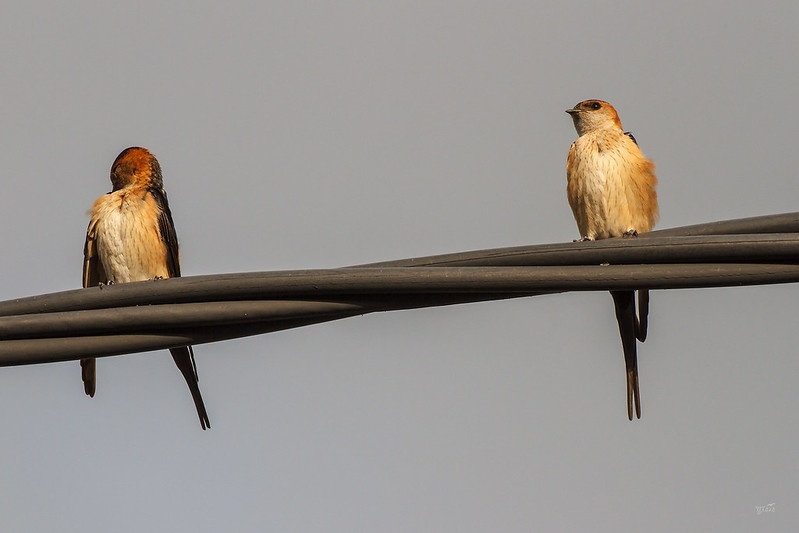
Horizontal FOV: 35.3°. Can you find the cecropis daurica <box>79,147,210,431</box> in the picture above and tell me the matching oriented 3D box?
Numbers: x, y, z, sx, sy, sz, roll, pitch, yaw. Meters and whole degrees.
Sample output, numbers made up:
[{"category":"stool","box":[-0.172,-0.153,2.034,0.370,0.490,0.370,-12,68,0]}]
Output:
[{"category":"cecropis daurica","box":[-1.772,0.060,8.515,0.775,2.431,0.777,-1,-42,-13]}]
